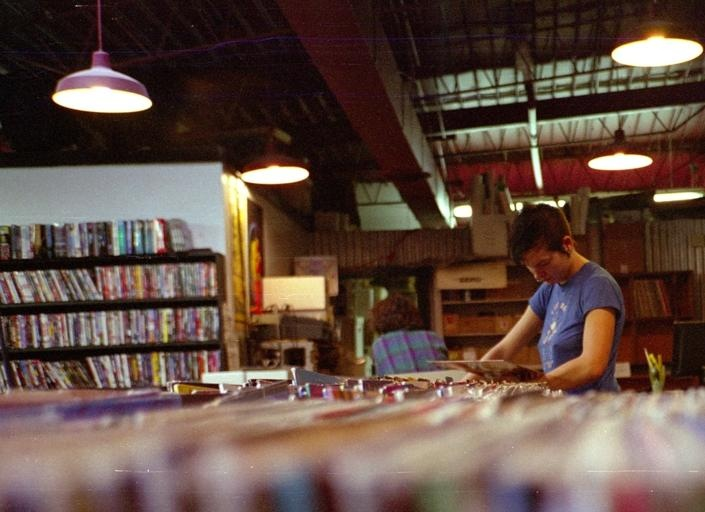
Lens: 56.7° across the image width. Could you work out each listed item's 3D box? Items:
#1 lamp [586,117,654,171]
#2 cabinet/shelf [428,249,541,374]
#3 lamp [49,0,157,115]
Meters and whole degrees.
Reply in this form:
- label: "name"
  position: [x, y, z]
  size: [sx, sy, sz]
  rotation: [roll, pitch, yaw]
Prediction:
- label: "lamp"
  position: [0.910, -0.365, 2.182]
  size: [0.167, 0.087, 0.164]
  rotation: [0, -1, 7]
- label: "cabinet/shelf"
  position: [0.693, 0.375, 3.446]
  size: [0.485, 0.432, 0.156]
  rotation: [1, 2, 20]
- label: "lamp"
  position: [-0.935, -0.765, 2.456]
  size: [0.320, 0.507, 0.307]
  rotation: [-10, -12, 20]
